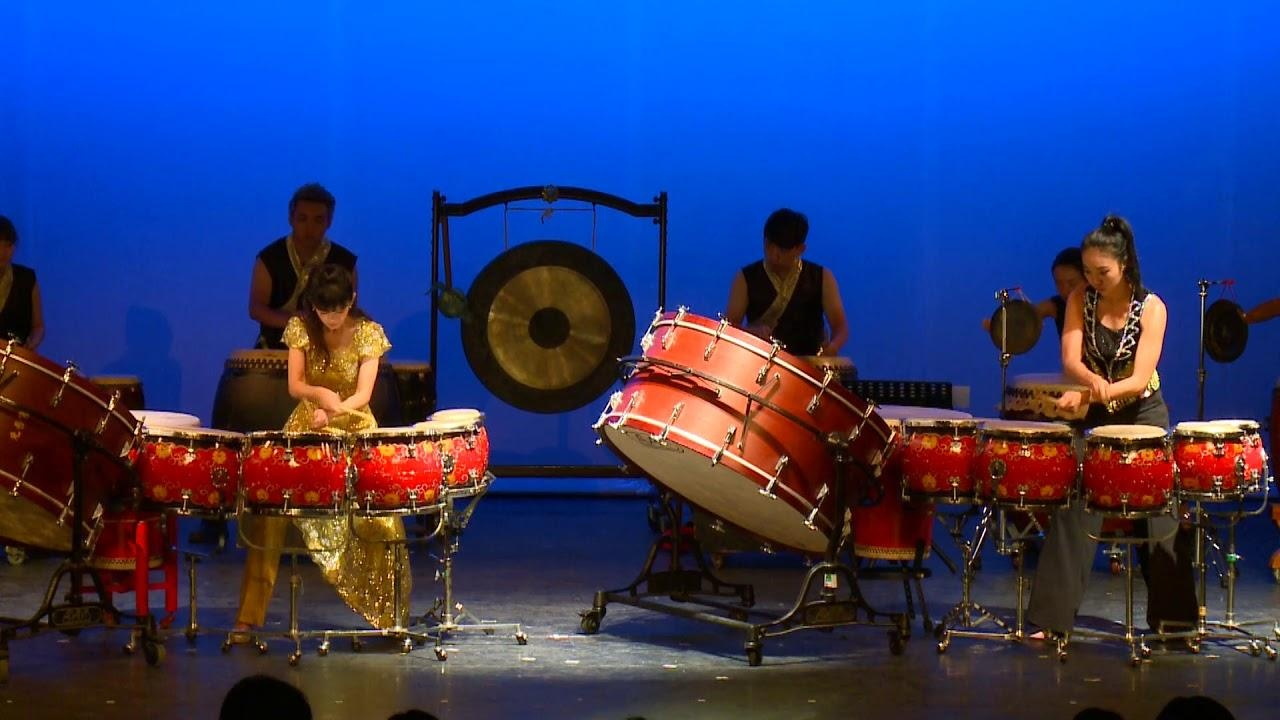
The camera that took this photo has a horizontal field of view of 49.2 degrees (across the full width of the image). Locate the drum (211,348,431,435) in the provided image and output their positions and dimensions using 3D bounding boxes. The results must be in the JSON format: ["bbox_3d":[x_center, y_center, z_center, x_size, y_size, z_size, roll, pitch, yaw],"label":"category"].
[{"bbox_3d":[-2.218,0.218,9.274,0.859,0.469,0.835,0,-2,0],"label":"drum"}]

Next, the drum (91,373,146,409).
[{"bbox_3d":[-3.364,0.199,8.995,0.287,0.239,0.273,1,2,10],"label":"drum"}]

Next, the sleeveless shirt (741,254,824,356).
[{"bbox_3d":[1.019,-0.433,9.790,0.595,0.395,0.701,1,-49,10],"label":"sleeveless shirt"}]

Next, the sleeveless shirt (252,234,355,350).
[{"bbox_3d":[-2.139,-0.422,8.881,0.913,0.796,0.493,2,-1,-6],"label":"sleeveless shirt"}]

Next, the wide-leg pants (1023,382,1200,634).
[{"bbox_3d":[2.947,0.752,8.302,0.940,0.824,0.788,21,-3,26],"label":"wide-leg pants"}]
